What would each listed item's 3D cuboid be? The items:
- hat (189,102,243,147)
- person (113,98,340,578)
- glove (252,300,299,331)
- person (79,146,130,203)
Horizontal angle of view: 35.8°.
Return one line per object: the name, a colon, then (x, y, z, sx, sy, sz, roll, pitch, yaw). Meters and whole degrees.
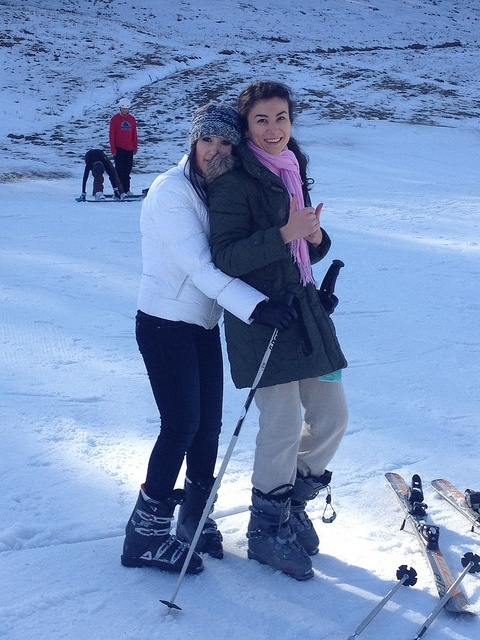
hat: (-0.083, -0.687, 2.630, 0.182, 0.166, 0.180, 6, 14, -6)
person: (-0.137, 0.073, 2.685, 0.493, 1.670, 0.489, 4, 16, -15)
glove: (0.126, -0.010, 2.562, 0.188, 0.109, 0.107, 2, 15, -17)
person: (-1.851, -1.943, 9.965, 0.608, 0.390, 0.761, -8, 56, 2)
